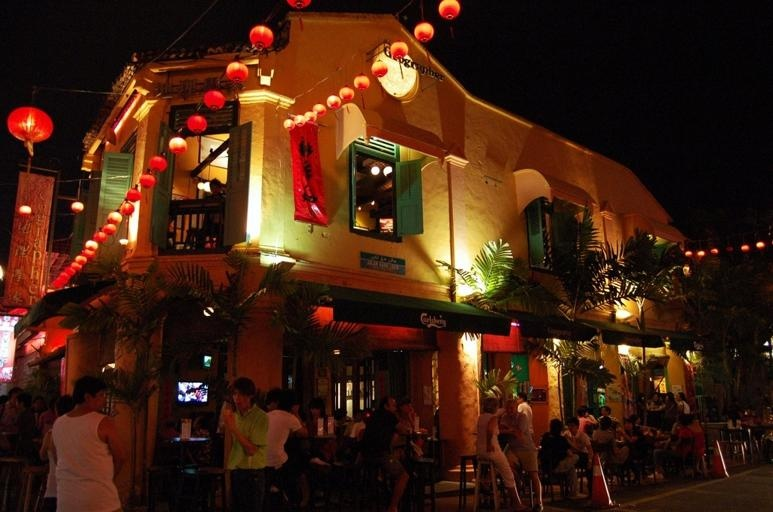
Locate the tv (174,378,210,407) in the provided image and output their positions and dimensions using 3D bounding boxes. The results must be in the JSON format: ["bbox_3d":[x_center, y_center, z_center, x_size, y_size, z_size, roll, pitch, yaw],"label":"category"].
[{"bbox_3d":[-4.603,3.209,14.671,0.869,0.637,0.498,2,-15,-14],"label":"tv"}]

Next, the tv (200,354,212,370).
[{"bbox_3d":[-4.316,2.527,15.076,0.292,0.402,0.409,-5,-17,3],"label":"tv"}]

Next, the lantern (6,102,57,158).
[{"bbox_3d":[-7.857,-2.841,13.684,0.825,0.929,0.590,8,-21,-25],"label":"lantern"}]
